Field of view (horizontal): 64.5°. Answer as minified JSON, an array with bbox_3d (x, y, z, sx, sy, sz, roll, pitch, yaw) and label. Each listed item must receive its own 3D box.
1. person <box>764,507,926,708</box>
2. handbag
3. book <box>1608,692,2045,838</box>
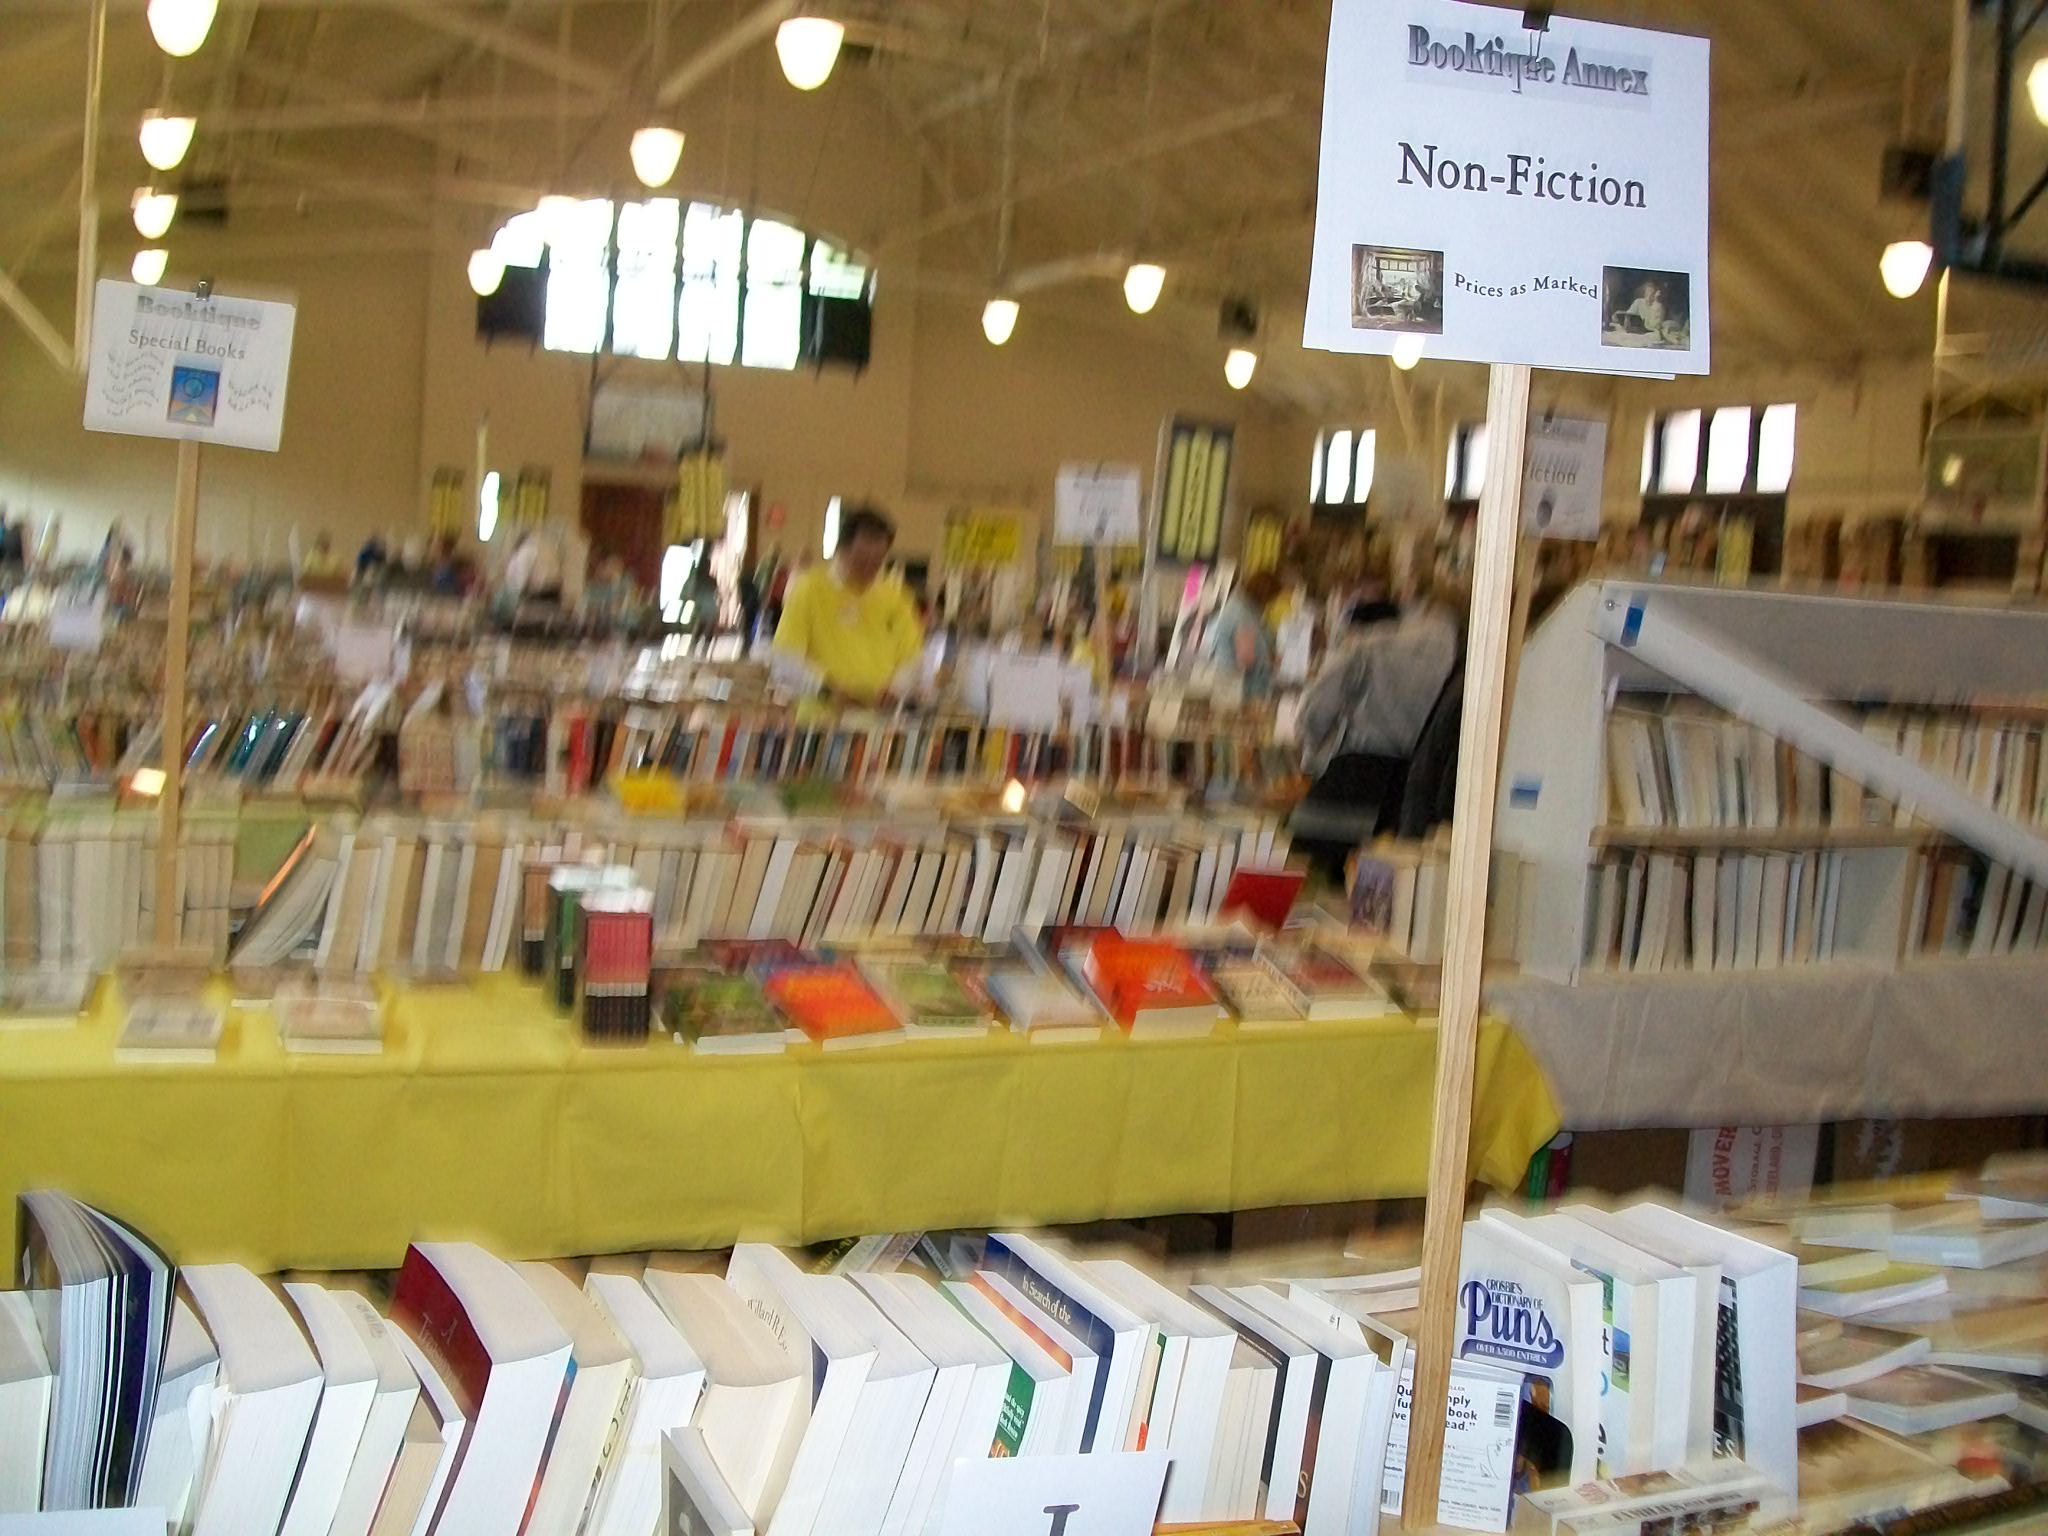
[{"bbox_3d":[-0.623,-0.410,5.840,0.580,1.039,0.542,4,-2,-14],"label":"person"},{"bbox_3d":[1.096,0.040,5.236,0.575,0.732,0.603,-1,20,15],"label":"handbag"},{"bbox_3d":[1.995,-0.009,4.014,1.212,0.331,0.237,0,0,-5],"label":"book"}]
